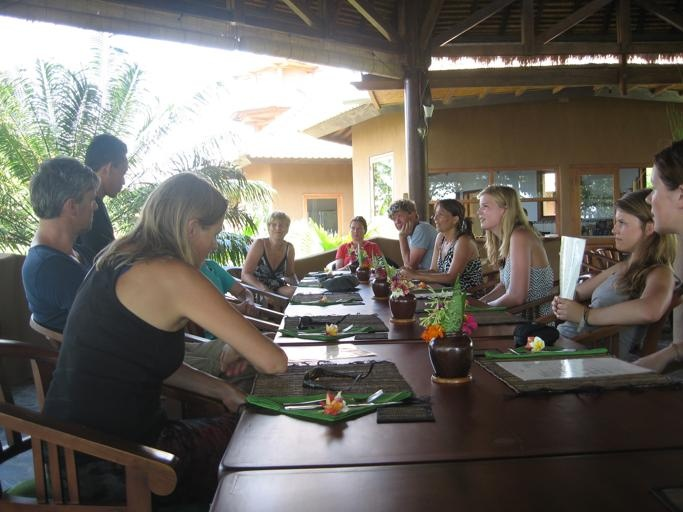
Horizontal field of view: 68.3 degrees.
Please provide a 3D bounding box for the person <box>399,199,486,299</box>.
[{"bbox_3d":[0.997,-0.112,4.569,0.888,1.082,0.754,0,1,-10],"label":"person"}]

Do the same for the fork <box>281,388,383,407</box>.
[{"bbox_3d":[-0.019,0.388,1.364,0.235,0.027,0.035,0,-26,-20],"label":"fork"}]

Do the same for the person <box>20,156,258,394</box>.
[{"bbox_3d":[-0.860,-0.069,2.880,1.321,1.351,0.716,-3,1,-16],"label":"person"}]

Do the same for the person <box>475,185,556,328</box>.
[{"bbox_3d":[1.161,0.082,3.478,0.592,1.101,0.511,-7,7,-4],"label":"person"}]

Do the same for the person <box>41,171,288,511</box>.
[{"bbox_3d":[-0.705,0.138,2.329,1.042,1.771,0.830,-3,11,-28],"label":"person"}]
